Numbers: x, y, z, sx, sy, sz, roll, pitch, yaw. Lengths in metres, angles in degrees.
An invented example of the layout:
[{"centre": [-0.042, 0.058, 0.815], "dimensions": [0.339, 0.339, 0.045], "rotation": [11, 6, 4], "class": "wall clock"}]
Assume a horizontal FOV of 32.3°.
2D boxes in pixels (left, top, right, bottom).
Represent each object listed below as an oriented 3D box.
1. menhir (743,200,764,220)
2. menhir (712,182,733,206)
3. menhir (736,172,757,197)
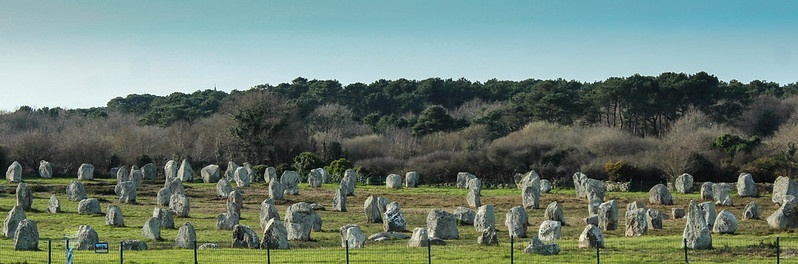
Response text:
[{"centre": [84.348, 18.935, 328.634], "dimensions": [4.055, 4.099, 1.378], "rotation": [0, -7, 3], "class": "menhir"}, {"centre": [78.911, 15.478, 335.654], "dimensions": [4.402, 5.156, 1.530], "rotation": [-1, -7, 9], "class": "menhir"}, {"centre": [86.036, 13.392, 340.666], "dimensions": [4.518, 5.650, 1.834], "rotation": [-1, -7, 8], "class": "menhir"}]
